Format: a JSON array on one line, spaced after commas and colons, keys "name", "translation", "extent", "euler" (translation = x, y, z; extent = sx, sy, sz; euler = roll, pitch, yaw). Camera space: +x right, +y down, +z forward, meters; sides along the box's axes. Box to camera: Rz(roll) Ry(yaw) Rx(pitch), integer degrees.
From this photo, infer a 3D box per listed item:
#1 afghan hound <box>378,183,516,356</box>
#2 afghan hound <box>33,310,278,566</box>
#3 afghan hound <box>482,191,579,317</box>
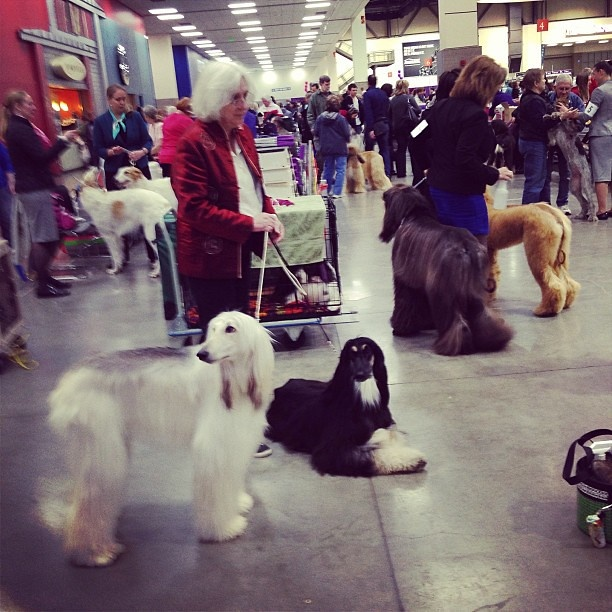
[{"name": "afghan hound", "translation": [0.860, -0.247, 3.833], "extent": [0.459, 1.059, 1.158], "euler": [-9, 17, -22]}, {"name": "afghan hound", "translation": [-0.444, 0.436, 1.725], "extent": [0.797, 0.789, 0.350], "euler": [-1, 22, -16]}, {"name": "afghan hound", "translation": [1.674, -0.395, 4.298], "extent": [0.689, 0.843, 0.673], "euler": [6, 20, 18]}]
